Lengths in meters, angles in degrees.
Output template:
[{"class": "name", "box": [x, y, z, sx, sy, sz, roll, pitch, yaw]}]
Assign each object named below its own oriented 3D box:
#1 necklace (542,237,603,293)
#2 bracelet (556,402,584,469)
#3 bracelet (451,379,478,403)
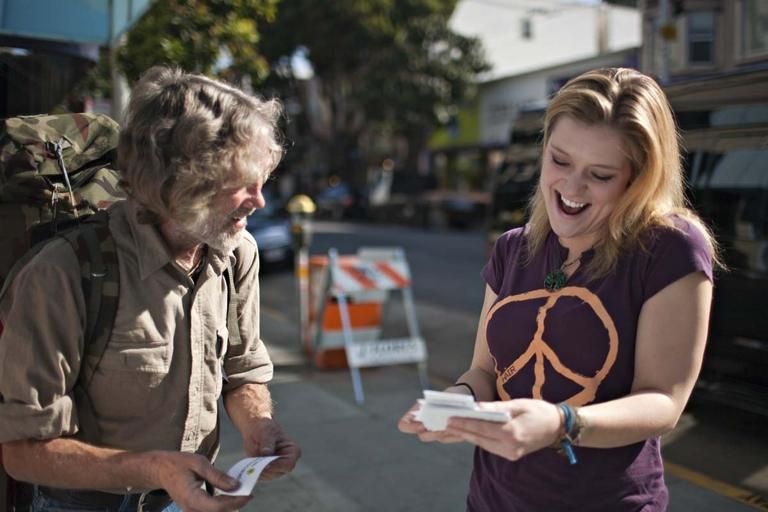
[{"class": "necklace", "box": [0.918, 0.049, 4.111, 0.186, 0.328, 0.043, 24, -16, 49]}, {"class": "bracelet", "box": [0.805, 0.829, 3.887, 0.093, 0.234, 0.174, -3, -18, 1]}, {"class": "bracelet", "box": [0.410, 0.673, 4.269, 0.084, 0.023, 0.091, 32, 9, -17]}]
